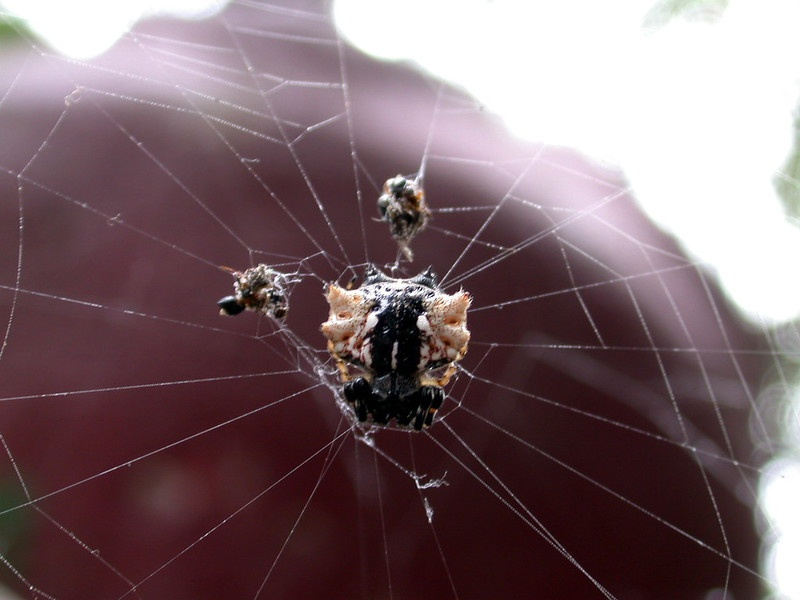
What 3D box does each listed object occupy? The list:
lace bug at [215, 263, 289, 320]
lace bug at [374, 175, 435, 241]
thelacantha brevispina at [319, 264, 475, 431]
[{"bbox_3d":[-0.728,-0.030,3.492,0.260,0.241,0.266,-2,-93,-37],"label":"lace bug"},{"bbox_3d":[0.014,-0.458,3.578,0.253,0.119,0.291,-43,-90,0],"label":"lace bug"},{"bbox_3d":[-0.062,0.201,3.668,0.667,0.879,0.757,-1,-86,-12],"label":"thelacantha brevispina"}]
